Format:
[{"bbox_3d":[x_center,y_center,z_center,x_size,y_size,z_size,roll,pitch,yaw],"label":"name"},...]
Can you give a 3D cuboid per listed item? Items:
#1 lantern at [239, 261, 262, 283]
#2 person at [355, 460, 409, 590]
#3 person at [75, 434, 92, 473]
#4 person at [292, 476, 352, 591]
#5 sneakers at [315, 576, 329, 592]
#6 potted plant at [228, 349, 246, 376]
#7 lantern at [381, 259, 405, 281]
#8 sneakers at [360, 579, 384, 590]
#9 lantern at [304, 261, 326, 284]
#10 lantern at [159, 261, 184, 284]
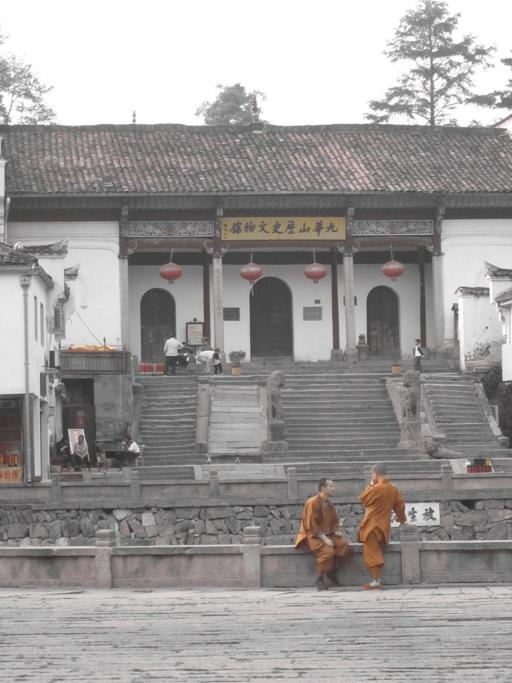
[{"bbox_3d":[-0.054,-1.438,36.134,0.380,0.485,0.400,6,-11,-19],"label":"lantern"},{"bbox_3d":[1.398,2.056,20.282,0.502,1.359,0.375,-1,-4,3],"label":"person"},{"bbox_3d":[-2.796,1.791,29.716,0.255,0.610,0.852,-1,-5,-5],"label":"person"},{"bbox_3d":[0.720,2.149,20.316,0.607,1.208,0.468,-2,-5,13],"label":"person"},{"bbox_3d":[0.743,2.692,20.321,0.082,0.194,0.186,4,-12,-22],"label":"sneakers"},{"bbox_3d":[-0.297,0.422,37.934,0.335,0.590,0.385,0,-11,-2],"label":"potted plant"},{"bbox_3d":[2.783,-1.509,36.536,0.401,0.487,0.390,6,-15,-24],"label":"lantern"},{"bbox_3d":[1.300,2.684,20.229,0.174,0.085,0.103,3,-1,14],"label":"sneakers"},{"bbox_3d":[1.234,-1.415,36.325,0.384,0.376,0.384,8,-10,-39],"label":"lantern"},{"bbox_3d":[-1.620,-1.367,35.771,0.409,0.418,0.373,6,-13,-15],"label":"lantern"}]
